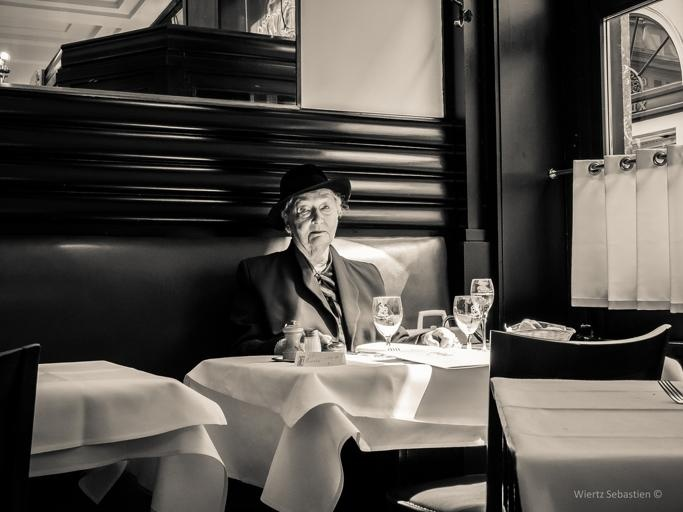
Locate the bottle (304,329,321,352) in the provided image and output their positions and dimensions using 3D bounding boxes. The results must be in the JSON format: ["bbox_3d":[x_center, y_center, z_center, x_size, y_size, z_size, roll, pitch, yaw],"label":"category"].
[{"bbox_3d":[-0.104,0.284,1.951,0.055,0.094,0.061,-1,-3,-11],"label":"bottle"}]

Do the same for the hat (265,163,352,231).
[{"bbox_3d":[-0.190,-0.347,2.870,0.421,0.203,0.491,-18,-7,-23],"label":"hat"}]

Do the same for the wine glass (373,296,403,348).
[{"bbox_3d":[0.158,0.225,1.995,0.093,0.192,0.201,0,3,3],"label":"wine glass"}]

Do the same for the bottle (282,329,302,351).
[{"bbox_3d":[-0.181,0.286,2.026,0.066,0.116,0.069,0,-3,0],"label":"bottle"}]
